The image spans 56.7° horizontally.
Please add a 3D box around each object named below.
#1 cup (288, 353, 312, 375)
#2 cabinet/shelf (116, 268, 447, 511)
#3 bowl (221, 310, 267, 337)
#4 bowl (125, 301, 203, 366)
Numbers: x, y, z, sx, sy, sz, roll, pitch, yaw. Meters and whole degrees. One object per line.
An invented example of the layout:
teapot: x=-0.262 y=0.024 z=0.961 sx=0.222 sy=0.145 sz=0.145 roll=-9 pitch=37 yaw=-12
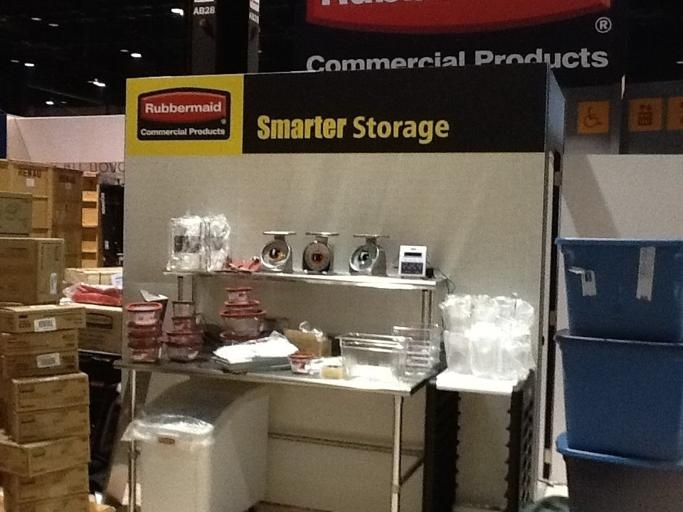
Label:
cup: x=-0.257 y=0.633 z=3.722 sx=0.107 sy=0.082 sz=0.112 roll=1 pitch=-6 yaw=0
cabinet/shelf: x=-0.563 y=0.870 z=4.029 sx=2.316 sy=1.552 sz=0.769 roll=2 pitch=2 yaw=17
bowl: x=-0.616 y=0.431 z=4.034 sx=0.185 sy=0.097 sz=0.193 roll=0 pitch=-6 yaw=0
bowl: x=-1.136 y=0.487 z=4.002 sx=0.462 sy=0.354 sz=0.327 roll=-1 pitch=0 yaw=4
